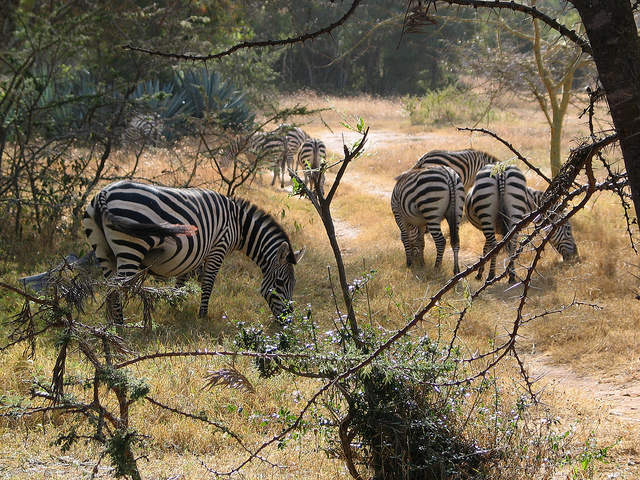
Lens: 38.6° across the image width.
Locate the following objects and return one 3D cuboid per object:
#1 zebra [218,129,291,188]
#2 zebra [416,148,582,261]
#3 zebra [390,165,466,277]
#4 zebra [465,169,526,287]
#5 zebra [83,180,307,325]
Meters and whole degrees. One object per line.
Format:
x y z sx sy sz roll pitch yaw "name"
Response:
-1.511 -1.838 20.543 1.800 1.484 0.553 0 4 32 "zebra"
4.666 -1.159 19.605 4.352 2.628 1.234 -3 4 -32 "zebra"
1.920 -0.480 17.880 0.841 2.176 2.886 -2 0 -19 "zebra"
3.551 -0.510 18.244 1.232 2.993 4.032 -2 -5 9 "zebra"
-1.885 0.333 14.847 3.734 2.335 1.161 6 3 -39 "zebra"
